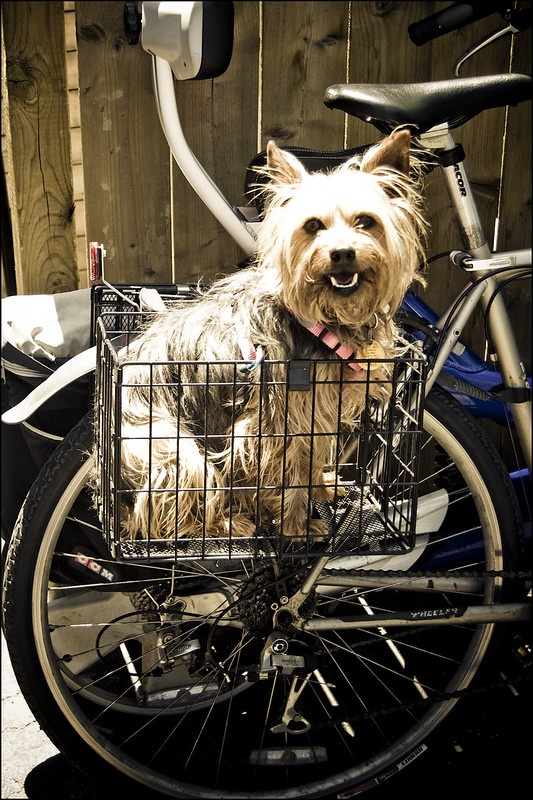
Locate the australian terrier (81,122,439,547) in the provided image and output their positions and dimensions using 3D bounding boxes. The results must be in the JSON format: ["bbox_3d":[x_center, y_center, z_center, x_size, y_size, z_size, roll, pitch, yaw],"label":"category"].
[{"bbox_3d":[-0.012,-0.125,1.849,0.737,0.879,0.628,2,14,7],"label":"australian terrier"}]
